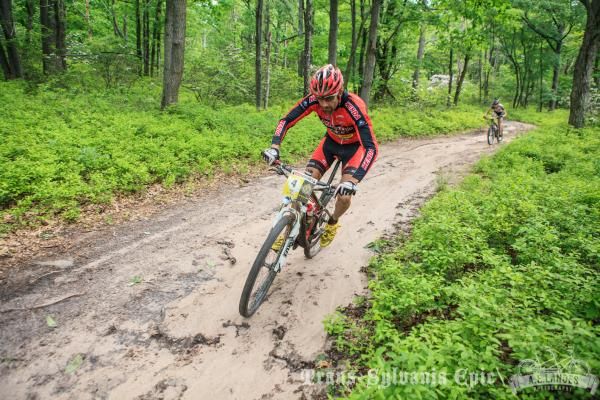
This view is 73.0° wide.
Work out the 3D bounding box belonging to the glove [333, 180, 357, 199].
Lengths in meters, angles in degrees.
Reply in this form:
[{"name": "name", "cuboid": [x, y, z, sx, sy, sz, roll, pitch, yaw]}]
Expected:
[{"name": "glove", "cuboid": [1.062, -0.248, 9.546, 0.384, 0.185, 0.390, 4, 27, -4]}]
